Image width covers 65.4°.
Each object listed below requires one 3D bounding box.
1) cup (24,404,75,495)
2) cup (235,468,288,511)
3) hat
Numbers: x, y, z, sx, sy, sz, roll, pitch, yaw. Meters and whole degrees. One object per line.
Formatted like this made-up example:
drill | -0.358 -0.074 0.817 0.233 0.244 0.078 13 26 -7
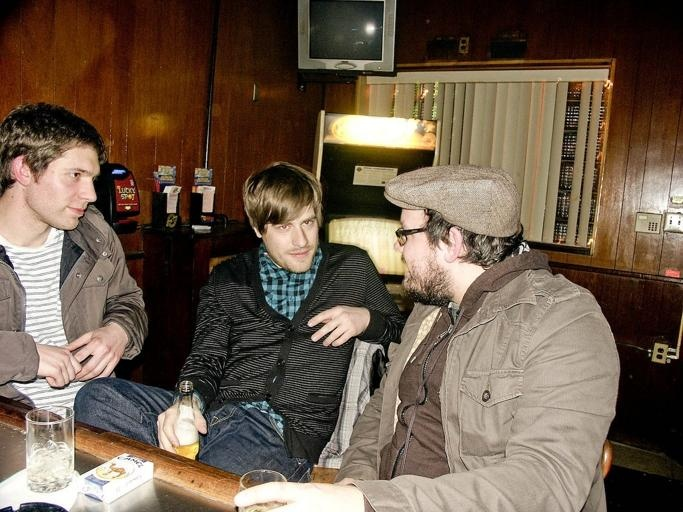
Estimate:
cup | -0.807 0.529 1.465 0.116 0.174 0.183 -1 8 -31
cup | -0.205 0.605 1.357 0.118 0.103 0.124 3 7 0
hat | 0.386 -0.226 1.758 0.346 0.140 0.243 12 15 21
